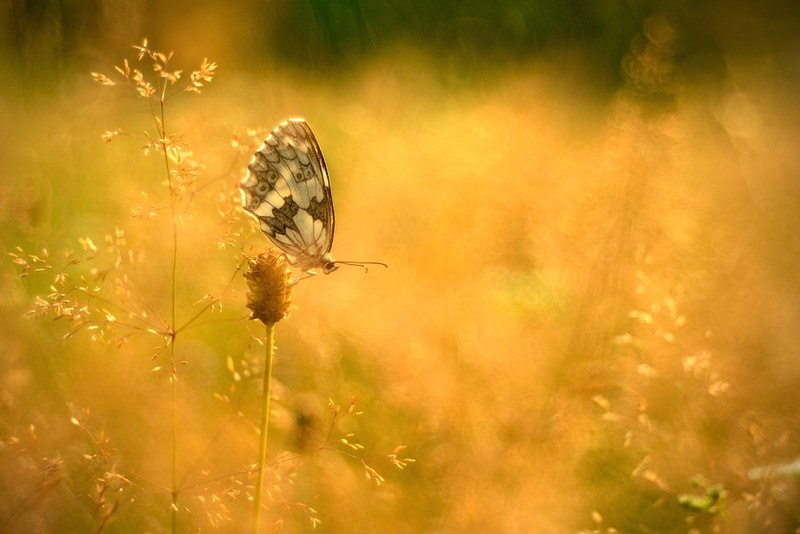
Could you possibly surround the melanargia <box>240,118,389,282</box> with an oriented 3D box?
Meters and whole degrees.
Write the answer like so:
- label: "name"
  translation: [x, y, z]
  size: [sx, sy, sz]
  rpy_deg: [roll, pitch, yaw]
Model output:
- label: "melanargia"
  translation: [-0.237, -0.165, 2.126]
  size: [0.221, 0.400, 0.274]
  rpy_deg: [-2, 8, -8]
